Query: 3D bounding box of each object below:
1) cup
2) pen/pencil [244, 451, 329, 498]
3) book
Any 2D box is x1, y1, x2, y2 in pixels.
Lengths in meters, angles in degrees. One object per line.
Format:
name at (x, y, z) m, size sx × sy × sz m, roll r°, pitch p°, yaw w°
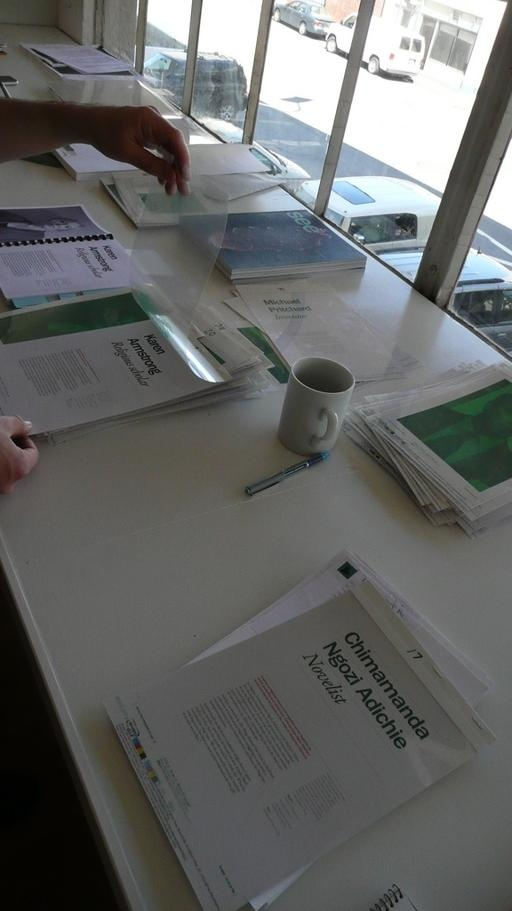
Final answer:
cup at (0.063, -0.075, 0.761) m, size 0.071 × 0.114 × 0.129 m, roll 5°, pitch 43°, yaw -2°
pen/pencil at (0.034, 0.025, 0.719) m, size 0.092 × 0.017 × 0.014 m, roll -28°, pitch 32°, yaw -36°
book at (-0.135, -0.417, 1.111) m, size 0.317 × 0.055 × 0.514 m, roll -12°, pitch 48°, yaw -23°
